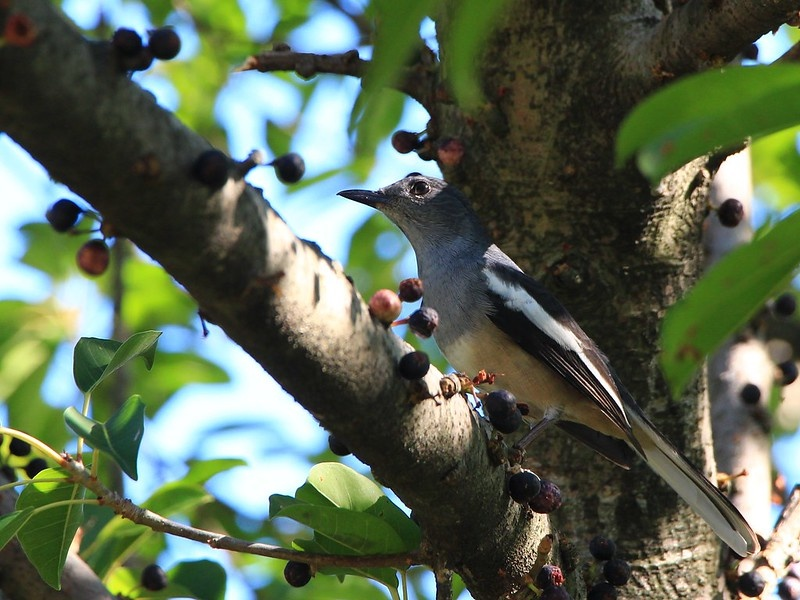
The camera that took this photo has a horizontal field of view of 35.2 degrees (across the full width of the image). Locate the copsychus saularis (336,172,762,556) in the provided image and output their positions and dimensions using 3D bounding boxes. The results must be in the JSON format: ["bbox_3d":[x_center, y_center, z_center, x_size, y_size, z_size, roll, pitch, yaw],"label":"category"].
[{"bbox_3d":[0.873,0.332,6.899,2.235,1.545,0.790,17,-31,-11],"label":"copsychus saularis"}]

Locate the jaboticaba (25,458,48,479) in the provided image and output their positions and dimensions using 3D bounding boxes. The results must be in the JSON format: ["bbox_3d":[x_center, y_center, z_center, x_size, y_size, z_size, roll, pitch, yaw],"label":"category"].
[{"bbox_3d":[-1.639,0.765,5.665,0.076,0.082,0.090,-5,-71,-28],"label":"jaboticaba"}]
